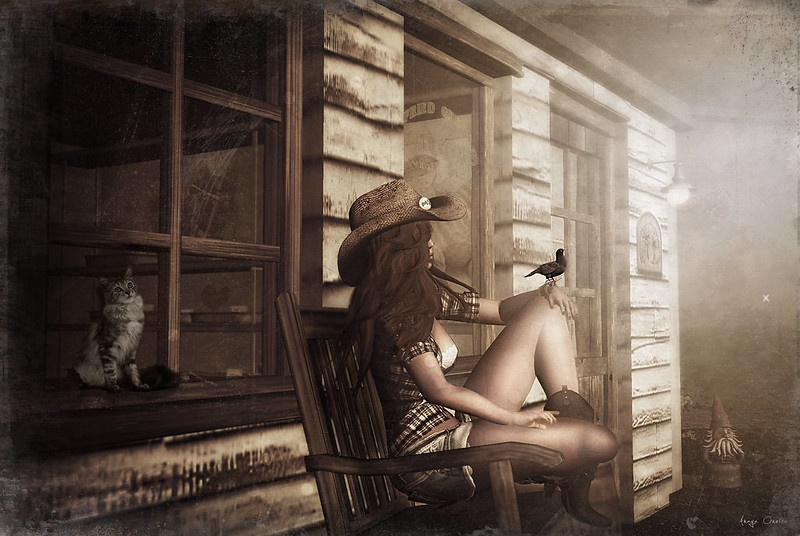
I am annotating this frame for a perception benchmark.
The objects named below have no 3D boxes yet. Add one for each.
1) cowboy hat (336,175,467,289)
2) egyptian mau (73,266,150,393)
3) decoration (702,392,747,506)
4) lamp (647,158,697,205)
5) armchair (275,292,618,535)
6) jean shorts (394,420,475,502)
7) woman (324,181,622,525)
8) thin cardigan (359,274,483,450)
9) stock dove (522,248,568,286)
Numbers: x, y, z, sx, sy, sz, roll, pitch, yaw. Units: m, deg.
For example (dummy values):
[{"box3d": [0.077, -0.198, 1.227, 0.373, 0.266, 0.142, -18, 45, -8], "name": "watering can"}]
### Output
[{"box3d": [-0.053, -0.247, 3.214, 0.654, 0.300, 0.487, -26, -3, 28], "name": "cowboy hat"}, {"box3d": [-1.178, 0.249, 2.777, 0.279, 0.511, 0.168, 3, -12, -24], "name": "egyptian mau"}, {"box3d": [2.128, 1.183, 4.494, 0.122, 0.617, 0.338, 2, -12, -19], "name": "decoration"}, {"box3d": [1.955, -0.613, 4.745, 0.264, 0.384, 0.326, 3, -3, -41], "name": "lamp"}, {"box3d": [0.247, 0.667, 3.176, 1.148, 1.358, 0.910, -8, -10, 6], "name": "armchair"}, {"box3d": [0.174, 0.845, 2.972, 0.353, 0.155, 0.283, -15, -46, 23], "name": "jean shorts"}, {"box3d": [0.192, 0.295, 3.986, 1.725, 2.281, 1.134, -3, 4, -6], "name": "woman"}, {"box3d": [0.167, 0.478, 3.365, 0.614, 1.105, 0.633, -7, -8, -2], "name": "thin cardigan"}, {"box3d": [0.748, 0.009, 3.609, 0.284, 0.237, 0.159, -5, -9, 12], "name": "stock dove"}]
